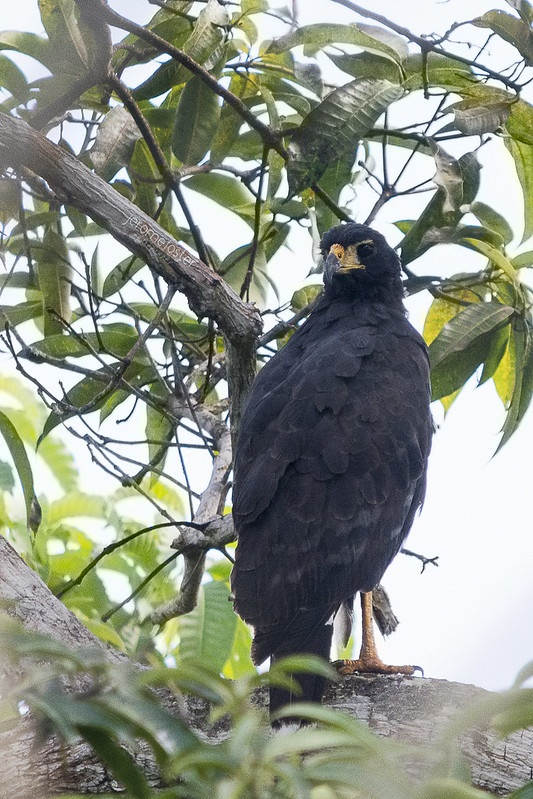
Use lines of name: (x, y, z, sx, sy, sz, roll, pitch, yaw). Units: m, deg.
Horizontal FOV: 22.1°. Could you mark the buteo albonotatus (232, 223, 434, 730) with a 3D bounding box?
buteo albonotatus: (0.182, 0.041, 3.834, 0.591, 1.551, 0.424, 4, -36, -8)
